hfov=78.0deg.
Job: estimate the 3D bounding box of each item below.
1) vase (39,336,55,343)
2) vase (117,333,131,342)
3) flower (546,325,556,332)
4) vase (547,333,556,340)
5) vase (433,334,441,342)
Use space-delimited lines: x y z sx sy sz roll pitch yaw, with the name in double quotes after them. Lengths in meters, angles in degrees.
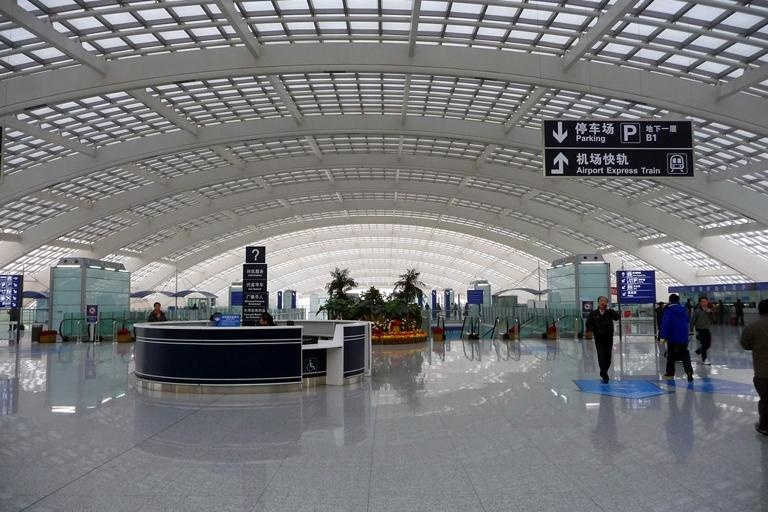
-19.151 4.768 27.113 0.527 0.267 0.476 1 -6 -3 "vase"
-15.443 4.848 28.258 0.656 0.407 0.593 0 -3 -7 "vase"
9.592 4.251 27.629 0.448 0.334 0.362 -13 23 36 "flower"
9.600 4.670 27.512 0.421 0.265 0.405 -1 -5 29 "vase"
3.004 4.709 27.485 0.512 0.363 0.495 -4 -6 11 "vase"
